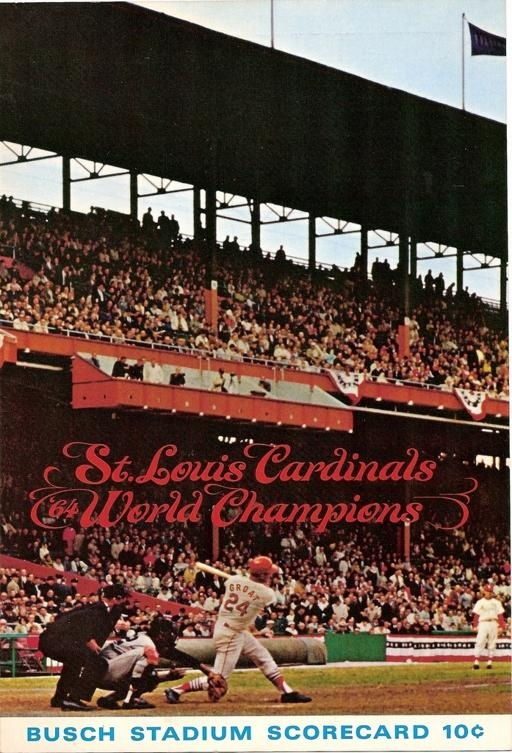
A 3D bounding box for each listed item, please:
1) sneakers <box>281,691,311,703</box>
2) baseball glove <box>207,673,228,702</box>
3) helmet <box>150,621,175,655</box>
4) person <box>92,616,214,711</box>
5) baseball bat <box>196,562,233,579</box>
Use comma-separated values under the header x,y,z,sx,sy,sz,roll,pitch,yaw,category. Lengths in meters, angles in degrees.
x,y,z,sx,sy,sz,roll,pitch,yaw,category
0.473,3.904,21.739,0.398,0.214,0.148,1,-4,-12,sneakers
-0.469,3.777,21.501,0.202,0.331,0.268,0,-13,-1,baseball glove
-1.126,3.144,21.524,0.248,0.414,0.360,5,11,13,helmet
-1.336,3.432,21.431,0.945,1.258,1.151,17,-13,-27,person
-0.549,2.526,22.946,0.562,0.106,0.144,21,-14,30,baseball bat
